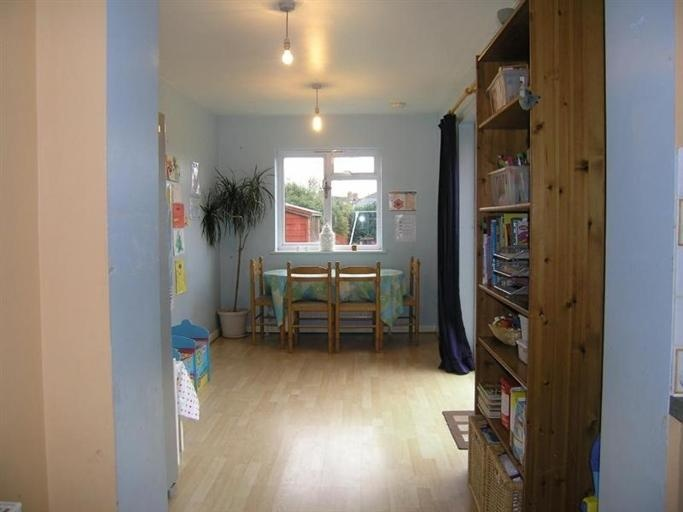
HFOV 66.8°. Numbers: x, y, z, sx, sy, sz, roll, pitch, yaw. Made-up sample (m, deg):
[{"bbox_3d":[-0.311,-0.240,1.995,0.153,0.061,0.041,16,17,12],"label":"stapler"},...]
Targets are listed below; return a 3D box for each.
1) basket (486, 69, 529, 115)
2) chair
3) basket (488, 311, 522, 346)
[{"bbox_3d":[0.810,-0.823,2.585,0.162,0.185,0.243,0,0,-10],"label":"basket"},{"bbox_3d":[-0.073,0.513,5.649,1.794,0.952,0.981,-1,3,5],"label":"chair"},{"bbox_3d":[0.872,0.394,2.760,0.142,0.109,0.145,-1,-4,35],"label":"basket"}]
